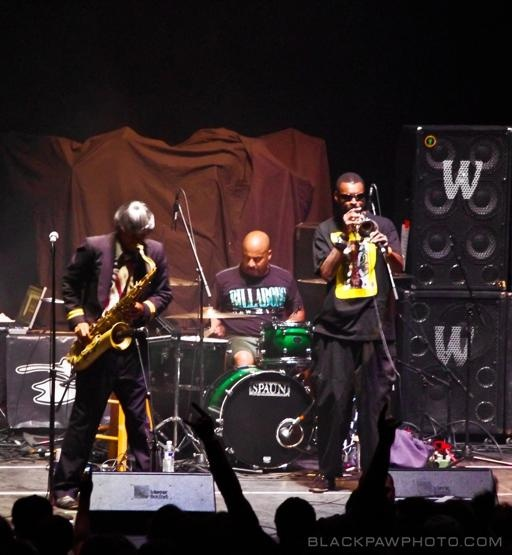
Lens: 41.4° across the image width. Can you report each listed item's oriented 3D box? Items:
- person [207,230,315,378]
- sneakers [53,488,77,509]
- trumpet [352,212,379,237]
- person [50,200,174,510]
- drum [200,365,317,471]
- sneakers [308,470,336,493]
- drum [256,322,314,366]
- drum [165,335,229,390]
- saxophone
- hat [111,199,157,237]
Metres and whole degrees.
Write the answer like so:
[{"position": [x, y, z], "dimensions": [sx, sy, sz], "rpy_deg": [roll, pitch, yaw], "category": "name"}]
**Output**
[{"position": [-0.002, 0.191, 5.493], "dimensions": [0.828, 1.098, 0.605], "rpy_deg": [-1, 2, -11], "category": "person"}, {"position": [-0.953, 1.128, 3.466], "dimensions": [0.180, 0.082, 0.063], "rpy_deg": [1, -7, 39], "category": "sneakers"}, {"position": [0.601, -0.287, 3.830], "dimensions": [0.131, 0.140, 0.137], "rpy_deg": [-5, -2, -8], "category": "trumpet"}, {"position": [-0.771, 0.456, 3.668], "dimensions": [0.597, 1.728, 0.506], "rpy_deg": [1, 11, -13], "category": "person"}, {"position": [-0.108, 1.066, 4.791], "dimensions": [0.617, 0.942, 0.929], "rpy_deg": [-8, -9, 33], "category": "drum"}, {"position": [0.402, 1.225, 4.095], "dimensions": [0.125, 0.068, 0.174], "rpy_deg": [-7, -8, -37], "category": "sneakers"}, {"position": [0.246, 0.464, 4.667], "dimensions": [0.388, 0.297, 0.408], "rpy_deg": [1, -11, 0], "category": "drum"}, {"position": [-0.425, 0.605, 4.890], "dimensions": [0.382, 0.363, 0.388], "rpy_deg": [-3, -26, 2], "category": "drum"}, {"position": [-0.720, 0.166, 3.555], "dimensions": [0.162, 0.460, 0.704], "rpy_deg": [12, -41, -26], "category": "saxophone"}, {"position": [-0.629, -0.299, 3.509], "dimensions": [0.166, 0.177, 0.197], "rpy_deg": [0, -3, -28], "category": "hat"}]
